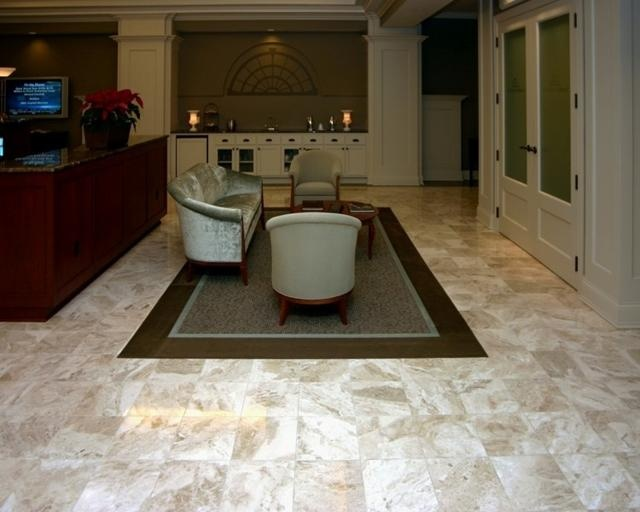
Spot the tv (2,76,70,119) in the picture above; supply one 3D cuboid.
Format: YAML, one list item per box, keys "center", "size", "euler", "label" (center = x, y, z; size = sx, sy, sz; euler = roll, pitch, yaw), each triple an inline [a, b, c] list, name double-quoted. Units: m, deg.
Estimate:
- center: [-6.463, -3.614, 9.957]
  size: [1.477, 0.855, 0.301]
  euler: [2, 14, 7]
  label: "tv"

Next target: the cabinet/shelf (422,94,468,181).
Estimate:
- center: [2.886, -2.779, 10.294]
  size: [0.964, 1.933, 0.358]
  euler: [-3, 14, -11]
  label: "cabinet/shelf"

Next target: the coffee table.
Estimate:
- center: [0.288, -0.159, 5.345]
  size: [0.977, 0.514, 0.729]
  euler: [2, 20, 5]
  label: "coffee table"

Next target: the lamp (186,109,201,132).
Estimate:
- center: [-2.879, -3.100, 10.014]
  size: [0.276, 0.504, 0.790]
  euler: [-4, 15, -16]
  label: "lamp"

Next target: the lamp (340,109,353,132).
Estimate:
- center: [0.617, -3.128, 10.077]
  size: [0.255, 0.521, 0.685]
  euler: [0, 15, 3]
  label: "lamp"

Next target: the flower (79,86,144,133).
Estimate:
- center: [-2.393, -1.609, 4.899]
  size: [0.681, 0.473, 0.710]
  euler: [-9, 25, 0]
  label: "flower"

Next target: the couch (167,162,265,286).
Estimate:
- center: [-1.150, -0.525, 5.144]
  size: [0.794, 0.978, 2.303]
  euler: [0, 19, -2]
  label: "couch"
